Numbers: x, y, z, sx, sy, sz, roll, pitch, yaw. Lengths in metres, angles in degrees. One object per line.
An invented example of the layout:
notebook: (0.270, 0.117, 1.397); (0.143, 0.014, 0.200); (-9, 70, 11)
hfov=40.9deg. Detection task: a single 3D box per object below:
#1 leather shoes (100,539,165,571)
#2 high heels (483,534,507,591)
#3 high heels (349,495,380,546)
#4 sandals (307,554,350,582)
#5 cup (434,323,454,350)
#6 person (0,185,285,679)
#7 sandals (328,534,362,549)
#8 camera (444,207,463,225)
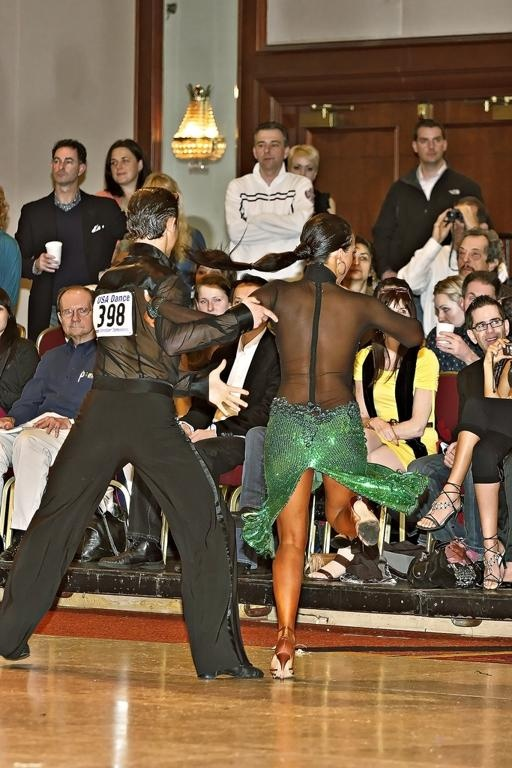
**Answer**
leather shoes: (-0.638, 0.920, 3.677); (0.373, 0.243, 0.139); (5, -11, -9)
high heels: (1.072, 0.821, 3.112); (0.089, 0.280, 0.118); (-2, -26, 11)
high heels: (0.393, 0.508, 2.531); (0.086, 0.177, 0.045); (-6, -39, -8)
sandals: (0.358, 0.907, 3.359); (0.083, 0.066, 0.242); (-6, -5, 40)
cup: (1.093, -0.276, 3.991); (0.136, 0.165, 0.116); (7, -47, 17)
person: (-0.381, 0.145, 2.276); (0.850, 1.620, 0.395); (1, 6, 6)
sandals: (0.459, 0.844, 3.623); (0.198, 0.074, 0.194); (-1, -2, 12)
camera: (1.356, -1.168, 4.760); (0.127, 0.113, 0.090); (0, -25, 2)
